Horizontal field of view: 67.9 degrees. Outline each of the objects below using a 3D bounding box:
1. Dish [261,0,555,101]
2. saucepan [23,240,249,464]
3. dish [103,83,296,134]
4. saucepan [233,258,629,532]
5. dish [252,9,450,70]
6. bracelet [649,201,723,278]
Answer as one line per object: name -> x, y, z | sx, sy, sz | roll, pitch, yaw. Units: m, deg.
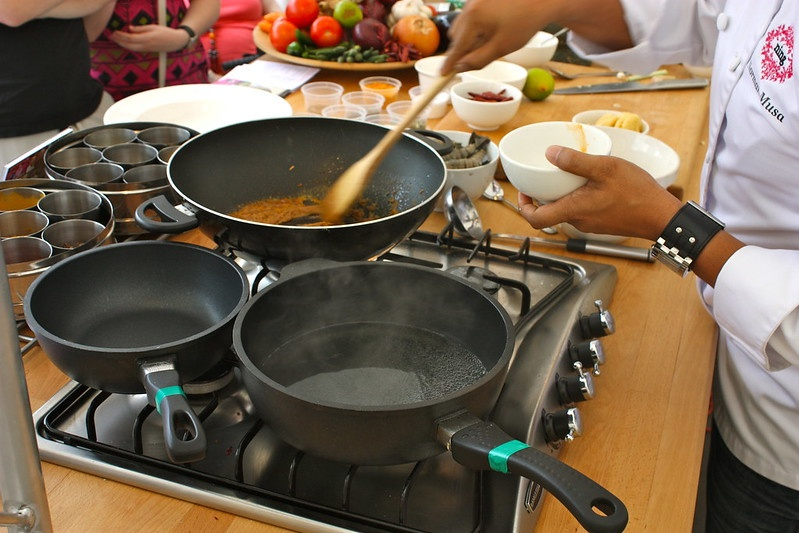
Dish -> -0.044, -0.681, 1.983 | 0.656, 0.069, 0.626 | -10, 33, -20
saucepan -> -0.343, 0.121, 0.824 | 0.301, 0.115, 0.455 | -9, 36, -28
dish -> -0.484, -0.394, 1.490 | 0.317, 0.041, 0.314 | -15, 35, -27
saucepan -> 0.050, 0.150, 0.806 | 0.546, 0.130, 0.308 | 19, 49, 22
dish -> -0.138, -0.746, 2.080 | 0.476, 0.055, 0.479 | 17, 23, 29
bracelet -> 0.509, -0.045, 1.054 | 0.077, 0.109, 0.075 | -31, 51, -24
